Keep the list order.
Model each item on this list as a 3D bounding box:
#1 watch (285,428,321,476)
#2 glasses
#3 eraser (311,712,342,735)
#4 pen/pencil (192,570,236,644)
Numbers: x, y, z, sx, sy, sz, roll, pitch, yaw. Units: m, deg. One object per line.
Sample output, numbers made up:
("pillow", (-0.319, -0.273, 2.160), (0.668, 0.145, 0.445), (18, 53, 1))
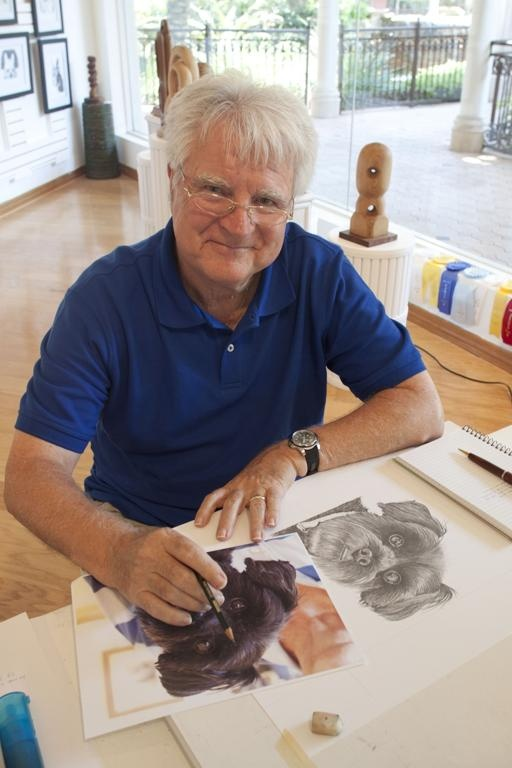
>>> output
("watch", (0.092, 0.113, 1.072), (0.051, 0.071, 0.073), (-15, 41, -7))
("glasses", (-0.036, -0.330, 1.052), (0.190, 0.081, 0.082), (0, 24, -6))
("eraser", (0.070, 0.341, 0.596), (0.029, 0.010, 0.021), (5, 23, 6))
("pen/pencil", (-0.056, 0.286, 0.756), (0.008, 0.008, 0.086), (-22, 63, -22))
